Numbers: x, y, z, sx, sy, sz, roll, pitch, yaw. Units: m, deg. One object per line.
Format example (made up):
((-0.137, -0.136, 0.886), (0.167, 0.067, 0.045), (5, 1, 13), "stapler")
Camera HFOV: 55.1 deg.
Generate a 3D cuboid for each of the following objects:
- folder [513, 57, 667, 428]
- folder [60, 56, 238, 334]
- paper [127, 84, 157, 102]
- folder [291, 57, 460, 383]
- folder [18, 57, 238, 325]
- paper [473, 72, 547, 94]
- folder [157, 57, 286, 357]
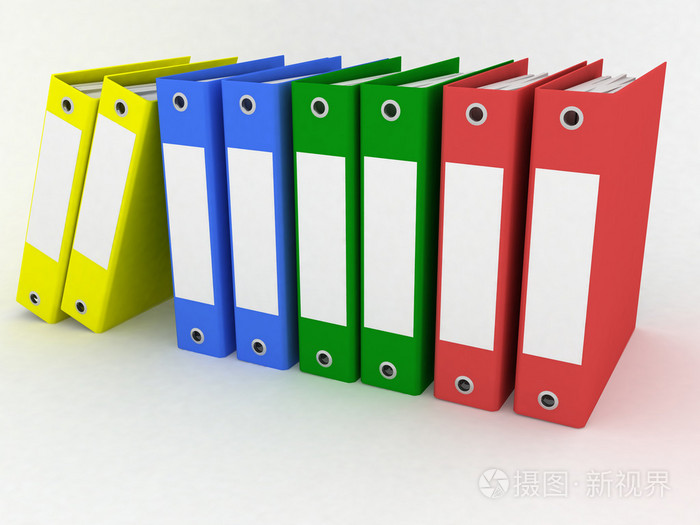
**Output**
((0.501, -0.026, 1.434), (0.192, 0.697, 0.641), (9, 25, 25), "folder")
((-0.510, -0.178, 1.697), (0.179, 0.543, 0.551), (14, 27, 12), "folder")
((-0.525, -0.438, 1.713), (0.069, 0.018, 0.070), (3, 22, 8), "paper")
((0.061, -0.082, 1.488), (0.177, 0.546, 0.565), (8, 23, 20), "folder")
((-0.553, -0.174, 1.715), (0.189, 0.537, 0.547), (22, 30, 15), "folder")
((0.351, -0.400, 1.492), (0.141, 0.006, 0.037), (-25, 46, -33), "paper")
((-0.301, -0.128, 1.614), (0.180, 0.577, 0.578), (5, 24, 14), "folder")
